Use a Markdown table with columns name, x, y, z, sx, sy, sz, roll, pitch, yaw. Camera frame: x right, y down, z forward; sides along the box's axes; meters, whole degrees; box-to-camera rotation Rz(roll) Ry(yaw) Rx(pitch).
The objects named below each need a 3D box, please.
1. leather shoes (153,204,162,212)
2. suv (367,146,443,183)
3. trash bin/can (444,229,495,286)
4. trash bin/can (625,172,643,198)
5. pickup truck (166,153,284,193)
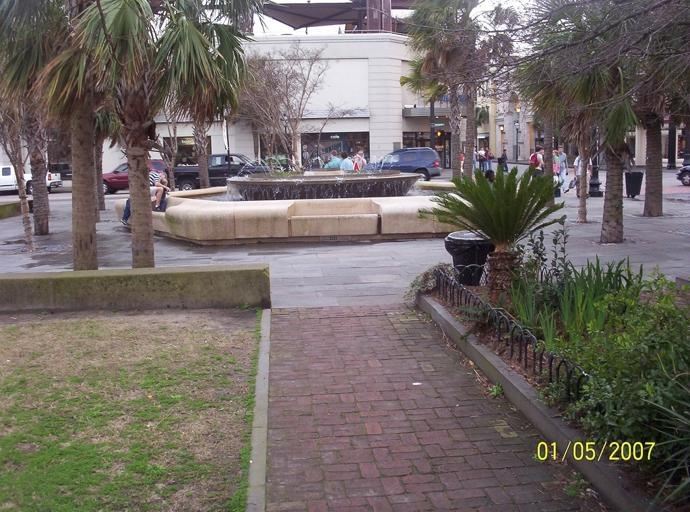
| name | x | y | z | sx | sy | sz | roll | pitch | yaw |
| --- | --- | --- | --- | --- | --- | --- | --- | --- | --- |
| leather shoes | -5.751 | -1.491 | 18.089 | 0.242 | 0.186 | 0.141 | -1 | 11 | -14 |
| suv | 4.137 | -5.835 | 37.028 | 2.748 | 1.926 | 3.002 | 13 | 16 | 42 |
| trash bin/can | 1.807 | 0.026 | 8.848 | 0.709 | 0.917 | 0.769 | 1 | 12 | -2 |
| trash bin/can | 11.574 | -2.874 | 23.570 | 0.570 | 1.072 | 1.168 | 8 | 13 | 29 |
| pickup truck | -7.165 | -4.828 | 33.310 | 5.511 | 2.460 | 2.654 | -3 | 8 | -3 |
